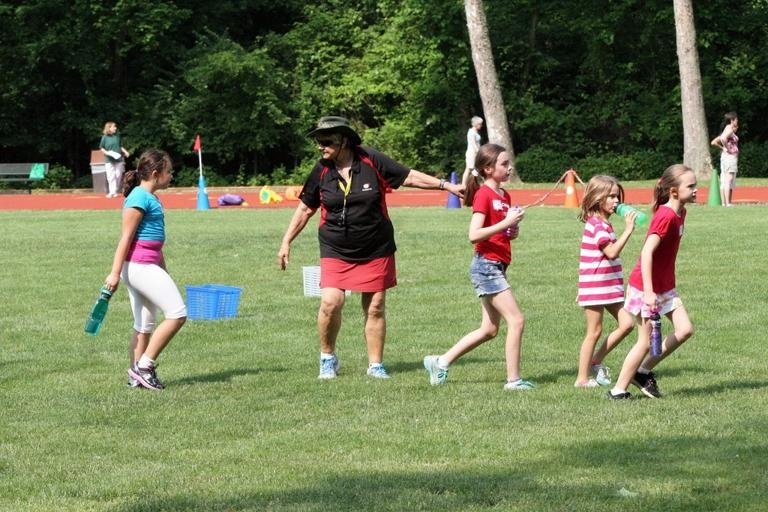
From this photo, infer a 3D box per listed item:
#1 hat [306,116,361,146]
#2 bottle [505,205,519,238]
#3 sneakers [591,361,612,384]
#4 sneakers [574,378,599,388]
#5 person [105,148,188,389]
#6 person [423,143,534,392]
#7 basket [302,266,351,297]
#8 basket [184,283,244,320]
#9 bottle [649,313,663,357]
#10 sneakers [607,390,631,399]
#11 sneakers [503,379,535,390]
[{"bbox_3d":[-0.749,-2.091,21.655,0.669,0.233,0.561,5,-5,-11],"label":"hat"},{"bbox_3d":[2.048,-0.511,21.223,0.167,0.431,0.317,13,21,-12],"label":"bottle"},{"bbox_3d":[3.524,1.917,21.625,0.169,0.439,0.186,3,-43,-37],"label":"sneakers"},{"bbox_3d":[3.256,2.026,21.547,0.397,0.151,0.141,-2,3,-4],"label":"sneakers"},{"bbox_3d":[-3.846,0.225,21.685,1.141,3.834,0.561,-1,5,-9],"label":"person"},{"bbox_3d":[1.654,0.172,21.506,1.482,3.898,0.795,0,5,7],"label":"person"},{"bbox_3d":[-1.227,0.480,25.658,0.837,0.652,0.623,0,0,-25],"label":"basket"},{"bbox_3d":[-3.102,0.844,24.246,0.657,0.423,0.833,2,2,17],"label":"basket"},{"bbox_3d":[4.234,1.235,20.865,0.176,0.726,0.242,1,5,11],"label":"bottle"},{"bbox_3d":[3.706,2.205,21.142,0.350,0.149,0.134,-1,10,-5],"label":"sneakers"},{"bbox_3d":[2.170,2.069,21.558,0.496,0.187,0.173,-2,2,-2],"label":"sneakers"}]
